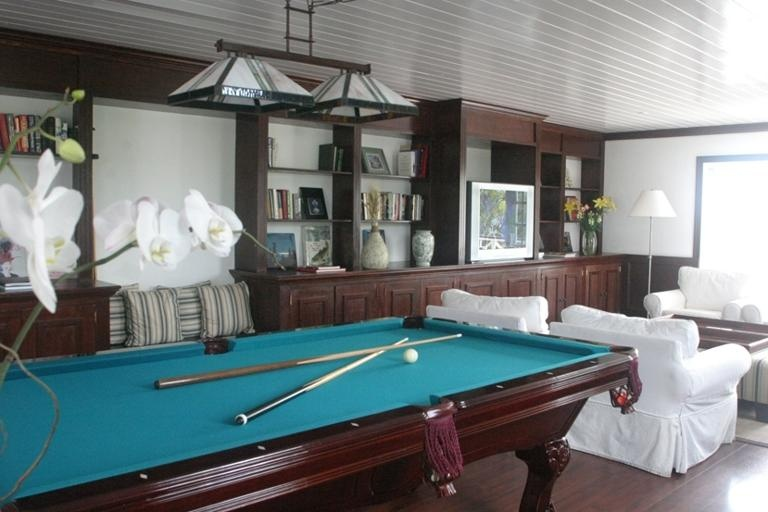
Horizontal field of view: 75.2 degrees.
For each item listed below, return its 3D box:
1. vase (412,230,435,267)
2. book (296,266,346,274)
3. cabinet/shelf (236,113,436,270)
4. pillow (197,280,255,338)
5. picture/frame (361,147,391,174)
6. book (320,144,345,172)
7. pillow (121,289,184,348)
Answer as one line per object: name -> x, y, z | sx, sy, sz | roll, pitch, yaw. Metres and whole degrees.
vase -> 0.434, -0.098, 5.998 | 0.319, 0.400, 0.297 | 2, 4, 6
book -> -0.633, 0.143, 5.032 | 0.488, 0.061, 0.241 | -1, 7, -13
cabinet/shelf -> -0.573, -0.710, 5.337 | 2.123, 1.642, 0.548 | -1, 3, -39
pillow -> -1.502, 0.515, 4.686 | 0.547, 0.436, 0.253 | -4, 1, -39
picture/frame -> -0.122, -1.127, 5.837 | 0.048, 0.377, 0.477 | -28, -13, 36
book -> -0.559, -1.073, 5.437 | 0.344, 0.300, 0.195 | 8, 10, 40
pillow -> -2.031, 0.556, 4.307 | 0.502, 0.435, 0.171 | 2, -23, -40
